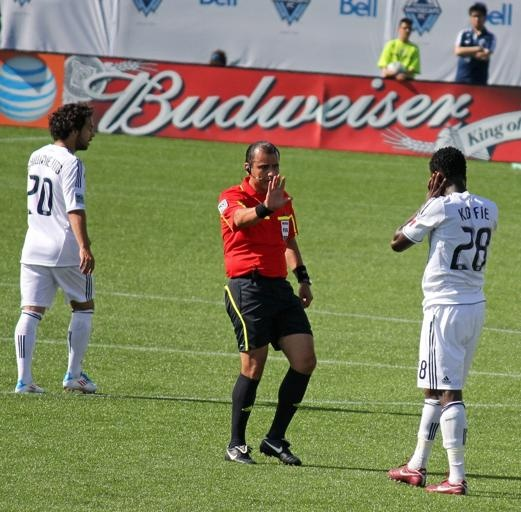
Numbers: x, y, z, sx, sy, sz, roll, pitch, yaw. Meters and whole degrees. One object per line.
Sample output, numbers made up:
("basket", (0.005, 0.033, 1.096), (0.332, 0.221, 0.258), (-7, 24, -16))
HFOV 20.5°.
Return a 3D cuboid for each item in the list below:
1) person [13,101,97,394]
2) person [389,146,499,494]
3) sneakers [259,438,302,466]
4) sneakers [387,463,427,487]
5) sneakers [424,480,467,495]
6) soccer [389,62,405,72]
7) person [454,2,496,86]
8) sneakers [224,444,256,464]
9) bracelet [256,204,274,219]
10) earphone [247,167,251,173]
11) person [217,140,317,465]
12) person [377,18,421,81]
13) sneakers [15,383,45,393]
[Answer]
("person", (-1.851, -0.037, 12.916), (0.728, 2.636, 0.828), (0, 15, -8))
("person", (1.386, 0.491, 11.239), (0.771, 2.567, 1.053), (5, 15, 8))
("sneakers", (0.158, 1.567, 11.618), (0.155, 0.172, 0.421), (-11, 19, -42))
("sneakers", (1.148, 1.704, 11.288), (0.326, 0.157, 0.121), (13, 5, 30))
("sneakers", (1.435, 1.773, 11.118), (0.315, 0.117, 0.113), (1, -11, 23))
("soccer", (2.020, -2.818, 21.521), (0.194, 0.161, 0.244), (-5, 16, -28))
("person", (3.186, -3.154, 21.428), (0.569, 1.206, 0.981), (4, 14, 7))
("sneakers", (-0.170, 1.575, 11.517), (0.223, 0.090, 0.132), (3, 5, 44))
("bracelet", (0.027, -0.372, 11.495), (0.119, 0.091, 0.119), (18, 30, 32))
("earphone", (-0.109, -0.716, 11.890), (0.032, 0.039, 0.036), (-3, -8, -6))
("person", (0.041, 0.345, 11.758), (0.833, 2.476, 1.194), (2, 14, -2))
("person", (2.103, -3.118, 21.730), (0.628, 0.942, 0.980), (3, 14, 3))
("sneakers", (-2.080, 1.173, 12.862), (0.280, 0.113, 0.092), (1, 5, -17))
